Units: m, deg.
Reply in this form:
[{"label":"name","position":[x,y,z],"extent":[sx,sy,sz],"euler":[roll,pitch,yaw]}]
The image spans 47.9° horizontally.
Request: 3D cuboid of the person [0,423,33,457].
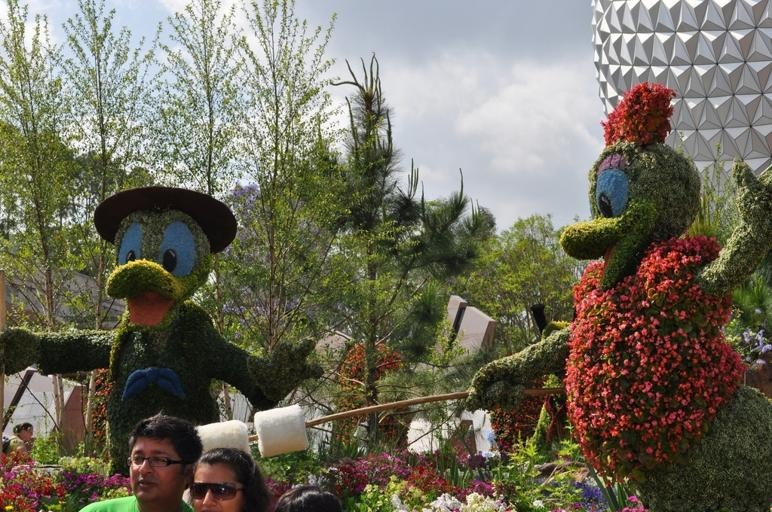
[{"label":"person","position":[-5.685,2.820,13.354],"extent":[0.412,0.638,3.002],"euler":[3,-17,-21]}]
